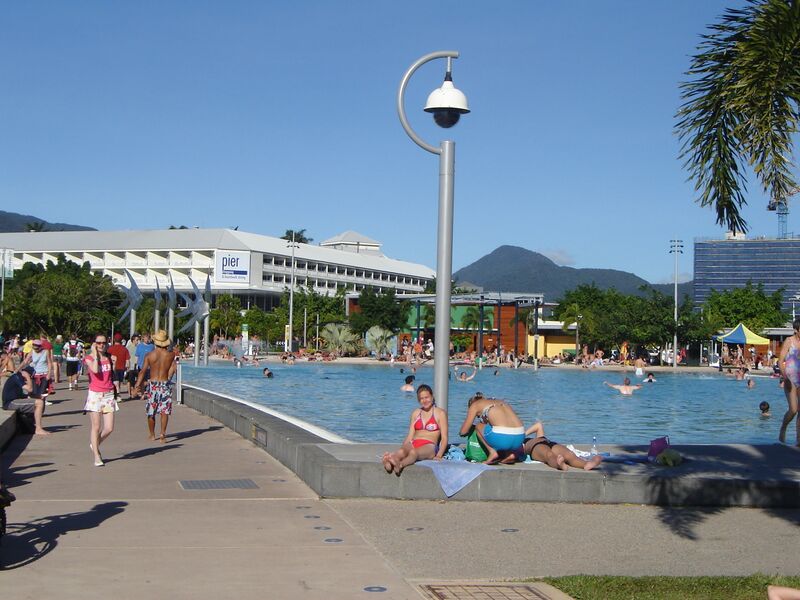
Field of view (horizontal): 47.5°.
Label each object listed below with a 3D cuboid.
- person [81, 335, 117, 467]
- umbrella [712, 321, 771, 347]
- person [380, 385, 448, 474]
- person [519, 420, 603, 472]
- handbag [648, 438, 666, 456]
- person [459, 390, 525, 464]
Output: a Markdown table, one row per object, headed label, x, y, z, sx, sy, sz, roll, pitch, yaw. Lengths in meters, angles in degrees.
| label | x | y | z | sx | sy | sz | roll | pitch | yaw |
| --- | --- | --- | --- | --- | --- | --- | --- | --- | --- |
| person | -4.810 | 1.572 | 14.674 | 0.481 | 1.375 | 1.401 | 2 | -2 | -18 |
| umbrella | 22.298 | 2.433 | 59.020 | 3.270 | 1.788 | 3.369 | 3 | -5 | -22 |
| person | 0.321 | 1.816 | 12.851 | 0.656 | 1.170 | 1.399 | 1 | -2 | 12 |
| person | 2.271 | 2.094 | 13.242 | 0.762 | 0.549 | 1.372 | 3 | -2 | -26 |
| handbag | 3.904 | 2.210 | 13.771 | 0.118 | 0.265 | 0.261 | 26 | -13 | -22 |
| person | 1.391 | 1.927 | 13.449 | 0.844 | 1.044 | 1.142 | 11 | -10 | -32 |
